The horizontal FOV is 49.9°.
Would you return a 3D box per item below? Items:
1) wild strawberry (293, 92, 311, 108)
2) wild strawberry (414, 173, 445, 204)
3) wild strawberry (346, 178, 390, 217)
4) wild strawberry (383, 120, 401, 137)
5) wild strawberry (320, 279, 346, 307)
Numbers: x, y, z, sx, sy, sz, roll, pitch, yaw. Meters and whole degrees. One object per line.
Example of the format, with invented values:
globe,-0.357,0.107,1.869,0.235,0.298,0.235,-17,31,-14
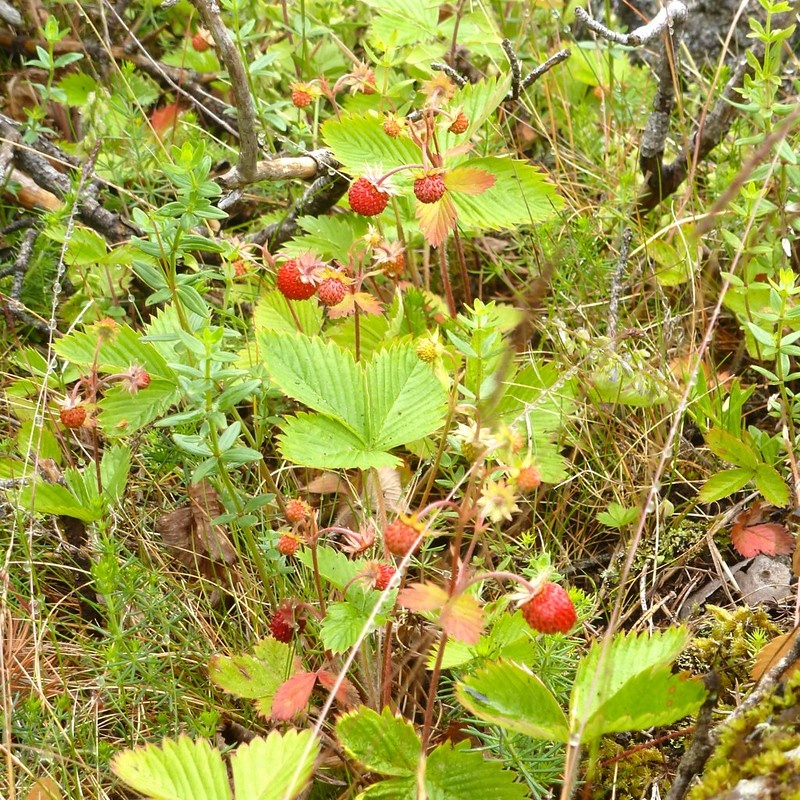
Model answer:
wild strawberry,-0.307,-0.937,2.705,0.054,0.053,0.054,-1,111,-11
wild strawberry,0.078,-0.530,2.227,0.070,0.073,0.072,8,77,-9
wild strawberry,-0.081,-0.505,2.221,0.103,0.089,0.098,11,88,19
wild strawberry,-0.022,-0.761,2.446,0.050,0.024,0.049,6,96,3
wild strawberry,-0.170,-0.269,2.208,0.067,0.057,0.065,8,68,-7
